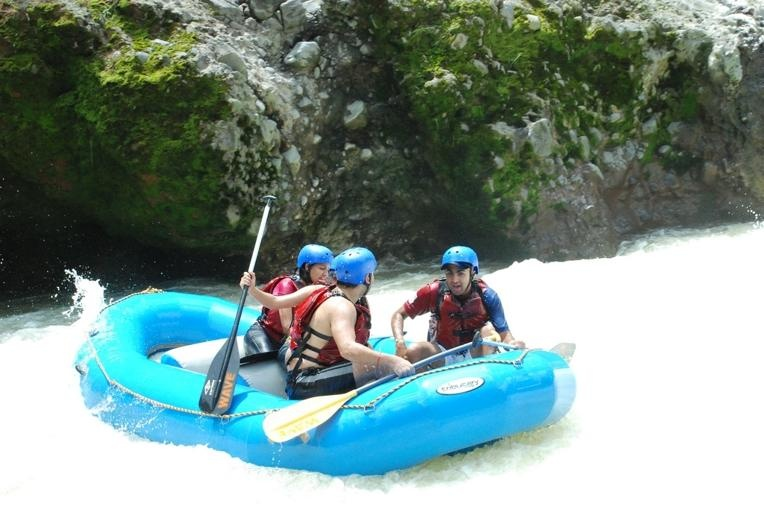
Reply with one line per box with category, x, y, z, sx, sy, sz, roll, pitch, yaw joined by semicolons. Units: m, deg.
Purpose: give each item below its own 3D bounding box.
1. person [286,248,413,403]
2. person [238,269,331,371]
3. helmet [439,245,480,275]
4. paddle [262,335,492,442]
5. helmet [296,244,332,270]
person;-0.377;0.808;6.989;0.668;1.203;1.023;-18;46;-32
person;-1.059;0.745;7.046;0.685;0.370;0.849;30;45;-16
helmet;0.931;0.016;7.216;0.283;0.219;0.416;0;-17;33
paddle;-0.079;1.376;6.393;2.199;0.329;0.228;-24;1;1
helmet;-0.792;0.030;7.608;0.347;0.274;0.259;14;2;10
